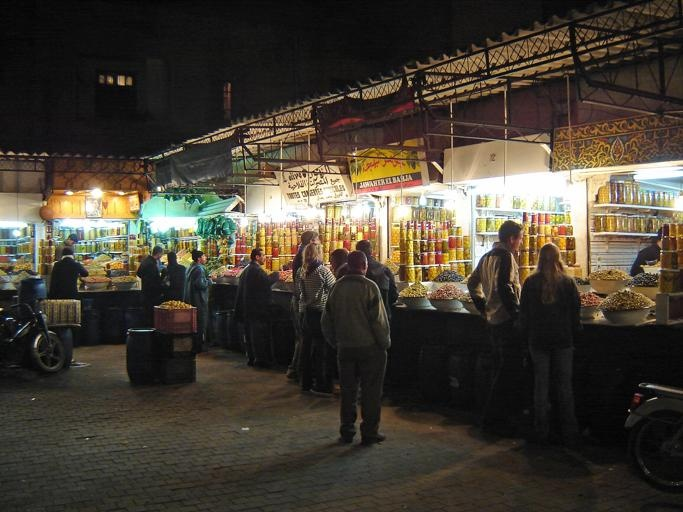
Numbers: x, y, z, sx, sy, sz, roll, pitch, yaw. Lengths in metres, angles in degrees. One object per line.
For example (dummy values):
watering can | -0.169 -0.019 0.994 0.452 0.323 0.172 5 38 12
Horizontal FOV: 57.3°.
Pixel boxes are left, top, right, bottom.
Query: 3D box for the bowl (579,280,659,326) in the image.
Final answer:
bowl | 2.921 0.533 6.695 0.476 0.337 0.744 -2 3 -33

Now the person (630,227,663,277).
person | 5.169 -0.084 10.613 0.431 0.761 1.563 1 3 26

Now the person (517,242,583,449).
person | 2.114 0.900 6.355 0.571 2.047 0.208 0 2 14

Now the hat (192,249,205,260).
hat | -2.777 -0.040 12.087 0.183 0.180 0.205 9 12 34

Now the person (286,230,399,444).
person | 0.158 0.942 6.580 0.719 1.983 0.313 0 2 10

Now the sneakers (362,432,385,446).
sneakers | 0.330 1.881 6.483 0.250 0.124 0.119 -1 2 -8

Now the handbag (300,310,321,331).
handbag | -0.389 0.851 8.400 0.336 0.318 0.318 4 -5 3
